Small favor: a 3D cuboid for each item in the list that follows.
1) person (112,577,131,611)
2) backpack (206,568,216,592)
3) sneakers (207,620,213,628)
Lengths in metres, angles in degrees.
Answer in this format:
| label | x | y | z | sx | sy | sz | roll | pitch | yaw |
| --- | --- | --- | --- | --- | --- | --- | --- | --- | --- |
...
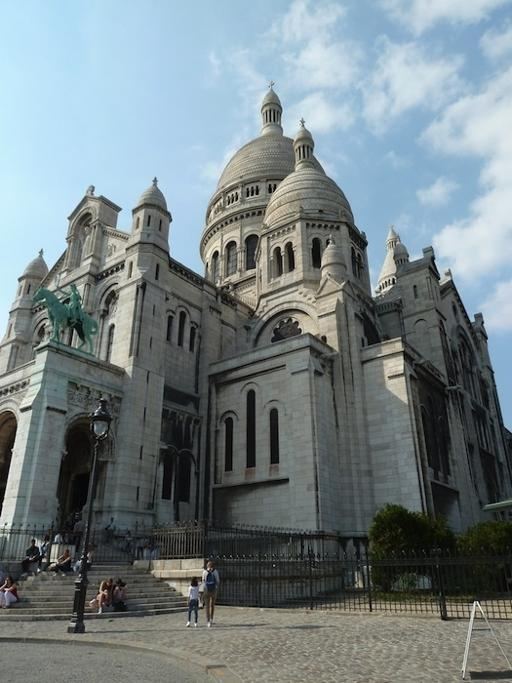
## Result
| label | x | y | z | sx | sy | sz | roll | pitch | yaw |
| --- | --- | --- | --- | --- | --- | --- | --- | --- | --- |
| person | -3.864 | 7.297 | 13.128 | 0.462 | 0.801 | 0.594 | 5 | -22 | -14 |
| backpack | -1.055 | 5.800 | 11.052 | 0.201 | 0.509 | 0.399 | -8 | -23 | 20 |
| sneakers | -1.030 | 6.505 | 10.475 | 0.095 | 0.113 | 0.265 | -2 | -36 | 5 |
